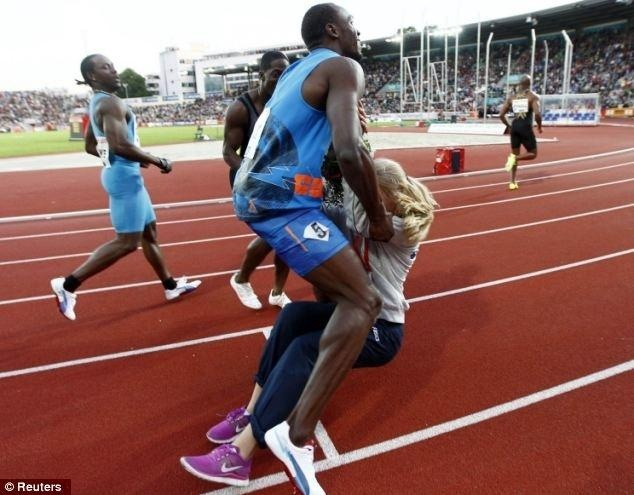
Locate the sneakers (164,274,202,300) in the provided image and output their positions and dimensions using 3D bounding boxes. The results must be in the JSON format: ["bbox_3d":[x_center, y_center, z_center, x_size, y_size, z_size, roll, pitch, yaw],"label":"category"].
[{"bbox_3d":[-1.432,0.431,4.738,0.166,0.220,0.484,8,24,40],"label":"sneakers"}]

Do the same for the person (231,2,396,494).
[{"bbox_3d":[-0.007,0.076,2.429,0.821,2.196,0.849,-11,18,-21],"label":"person"}]

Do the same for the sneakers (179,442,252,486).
[{"bbox_3d":[-0.542,1.201,2.510,0.434,0.230,0.176,22,-7,-13],"label":"sneakers"}]

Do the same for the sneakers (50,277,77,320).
[{"bbox_3d":[-2.323,0.479,4.033,0.167,0.431,0.133,-11,18,-21],"label":"sneakers"}]

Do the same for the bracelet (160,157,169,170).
[{"bbox_3d":[-1.449,-0.794,4.189,0.089,0.125,0.238,-11,18,-18],"label":"bracelet"}]

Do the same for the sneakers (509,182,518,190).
[{"bbox_3d":[4.121,-1.281,9.068,0.124,0.162,0.354,2,6,36],"label":"sneakers"}]
